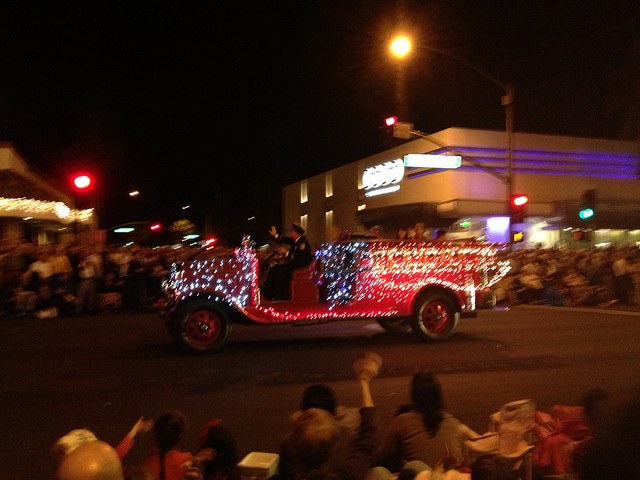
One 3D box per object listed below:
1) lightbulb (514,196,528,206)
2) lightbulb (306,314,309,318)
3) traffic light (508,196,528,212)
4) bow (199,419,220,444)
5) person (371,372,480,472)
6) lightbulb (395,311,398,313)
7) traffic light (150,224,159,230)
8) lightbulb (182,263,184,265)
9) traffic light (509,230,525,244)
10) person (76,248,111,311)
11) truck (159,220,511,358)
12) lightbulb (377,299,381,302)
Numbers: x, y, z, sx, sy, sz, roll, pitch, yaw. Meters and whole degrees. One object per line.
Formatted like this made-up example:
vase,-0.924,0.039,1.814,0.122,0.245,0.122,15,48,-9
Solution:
lightbulb,6.921,-1.381,21.059,0.416,0.316,0.311,0,2,14
lightbulb,-0.268,1.491,12.194,0.063,0.066,0.066,0,-1,-3
traffic light,6.892,-1.342,21.272,0.416,0.469,0.716,-2,2,-35
bow,-0.932,1.594,5.100,0.163,0.191,0.261,-2,2,-28
person,0.887,1.636,5.497,0.781,0.847,0.279,0,2,8
lightbulb,1.549,1.450,12.509,0.044,0.044,0.045,-3,7,12
traffic light,-8.404,-0.715,30.832,0.427,0.127,0.415,-4,-11,-31
lightbulb,-2.622,0.432,11.558,0.044,0.032,0.043,1,-4,-1
traffic light,7.309,-0.162,22.754,0.099,0.504,0.738,14,-1,8
person,-6.893,1.184,18.060,0.831,2.277,0.636,-3,19,-8
truck,0.360,0.962,13.346,6.900,2.414,2.990,1,-6,-13
lightbulb,1.188,1.218,12.523,0.121,0.029,0.029,-8,-17,-16
